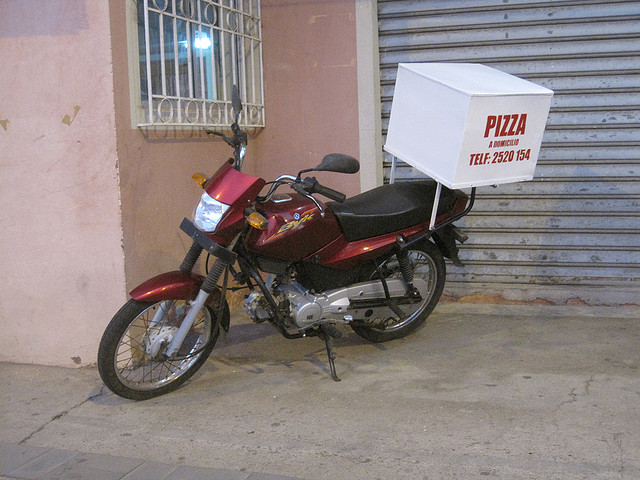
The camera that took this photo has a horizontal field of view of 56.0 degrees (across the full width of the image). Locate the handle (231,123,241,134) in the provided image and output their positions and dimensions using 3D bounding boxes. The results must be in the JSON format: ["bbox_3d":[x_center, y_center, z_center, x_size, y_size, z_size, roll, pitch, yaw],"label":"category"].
[{"bbox_3d":[-0.640,-0.717,4.549,0.078,0.066,0.021,1,18,1],"label":"handle"}]

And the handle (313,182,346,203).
[{"bbox_3d":[0.061,-0.266,4.423,0.326,0.119,0.134,9,13,30],"label":"handle"}]

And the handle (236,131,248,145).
[{"bbox_3d":[-0.580,-0.659,4.549,0.097,0.080,0.070,1,2,8],"label":"handle"}]
